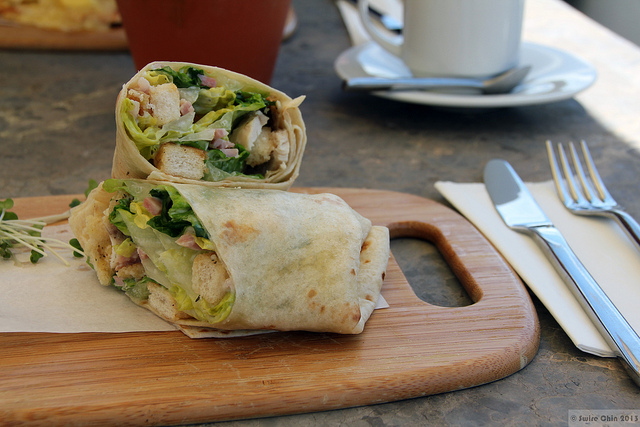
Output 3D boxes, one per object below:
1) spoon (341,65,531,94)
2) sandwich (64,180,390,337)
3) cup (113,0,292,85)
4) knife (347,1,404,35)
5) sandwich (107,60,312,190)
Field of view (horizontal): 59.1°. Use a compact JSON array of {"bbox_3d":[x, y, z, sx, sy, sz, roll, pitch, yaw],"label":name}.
[{"bbox_3d":[0.382,-0.412,1.748,0.501,0.104,0.085,-3,94,-8],"label":"spoon"},{"bbox_3d":[-0.201,0.101,1.263,0.494,0.187,0.429,3,32,-6],"label":"sandwich"},{"bbox_3d":[-0.390,-0.574,1.824,0.424,0.351,0.463,1,21,0],"label":"cup"},{"bbox_3d":[0.197,-0.666,1.898,0.241,0.072,0.040,35,75,28],"label":"knife"},{"bbox_3d":[-0.290,-0.183,1.385,0.432,0.213,0.312,-6,67,-24],"label":"sandwich"}]
